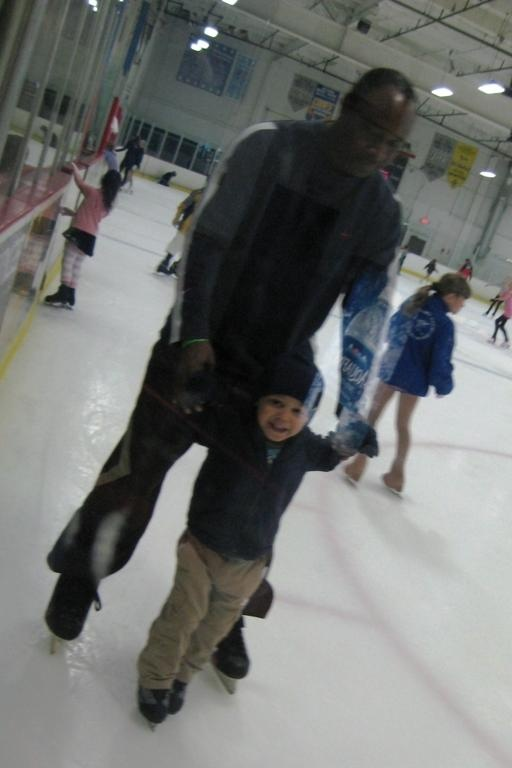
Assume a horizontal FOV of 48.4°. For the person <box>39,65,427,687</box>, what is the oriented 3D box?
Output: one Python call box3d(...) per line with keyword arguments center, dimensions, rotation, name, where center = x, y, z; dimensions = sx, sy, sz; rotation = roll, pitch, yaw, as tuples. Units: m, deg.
box3d(center=(-0.072, 0.071, 0.651), dimensions=(0.215, 0.813, 0.264), rotation=(22, 12, -12), name="person")
